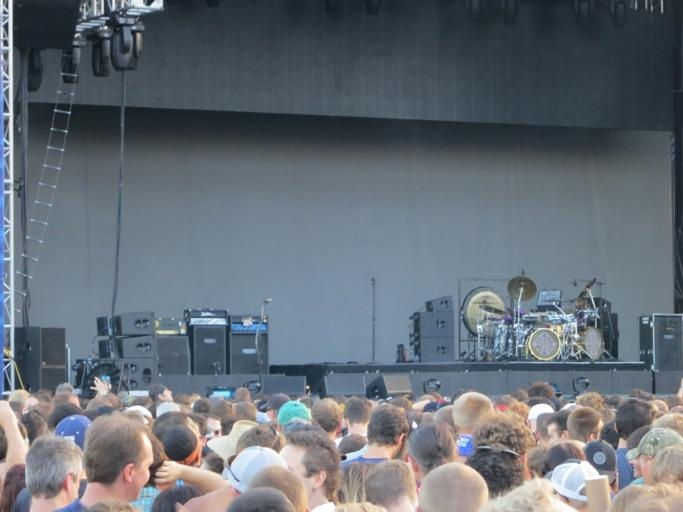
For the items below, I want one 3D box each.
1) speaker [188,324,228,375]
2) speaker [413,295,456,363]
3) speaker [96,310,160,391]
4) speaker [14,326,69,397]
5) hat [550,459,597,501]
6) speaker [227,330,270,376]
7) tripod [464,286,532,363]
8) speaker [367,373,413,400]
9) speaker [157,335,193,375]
[{"bbox_3d":[-3.001,2.141,44.560,1.035,1.598,0.950,0,-7,-10],"label":"speaker"},{"bbox_3d":[2.076,1.701,45.198,0.997,1.515,0.676,-1,-3,13],"label":"speaker"},{"bbox_3d":[-4.637,2.046,42.954,1.047,1.837,0.914,-5,5,-41],"label":"speaker"},{"bbox_3d":[-6.311,2.215,42.095,0.815,1.554,0.775,-3,4,3],"label":"speaker"},{"bbox_3d":[3.842,3.757,33.534,0.985,0.407,0.720,5,23,21],"label":"hat"},{"bbox_3d":[-2.023,2.205,44.220,0.659,1.062,0.622,-1,1,41],"label":"speaker"},{"bbox_3d":[3.696,1.608,46.195,1.629,1.619,1.295,3,-4,-17],"label":"tripod"},{"bbox_3d":[0.964,2.815,41.887,0.622,0.447,0.597,3,-3,-35],"label":"speaker"},{"bbox_3d":[-3.693,2.315,43.765,0.693,1.026,1.013,-2,20,1],"label":"speaker"}]
